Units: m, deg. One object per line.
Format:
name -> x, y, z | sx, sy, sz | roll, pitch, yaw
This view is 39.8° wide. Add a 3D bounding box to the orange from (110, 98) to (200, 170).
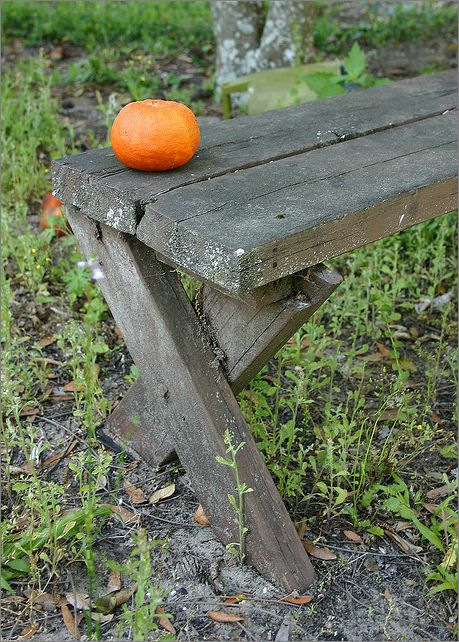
orange -> -0.158, -0.393, 1.369 | 0.188, 0.151, 0.085 | -13, 31, -4
